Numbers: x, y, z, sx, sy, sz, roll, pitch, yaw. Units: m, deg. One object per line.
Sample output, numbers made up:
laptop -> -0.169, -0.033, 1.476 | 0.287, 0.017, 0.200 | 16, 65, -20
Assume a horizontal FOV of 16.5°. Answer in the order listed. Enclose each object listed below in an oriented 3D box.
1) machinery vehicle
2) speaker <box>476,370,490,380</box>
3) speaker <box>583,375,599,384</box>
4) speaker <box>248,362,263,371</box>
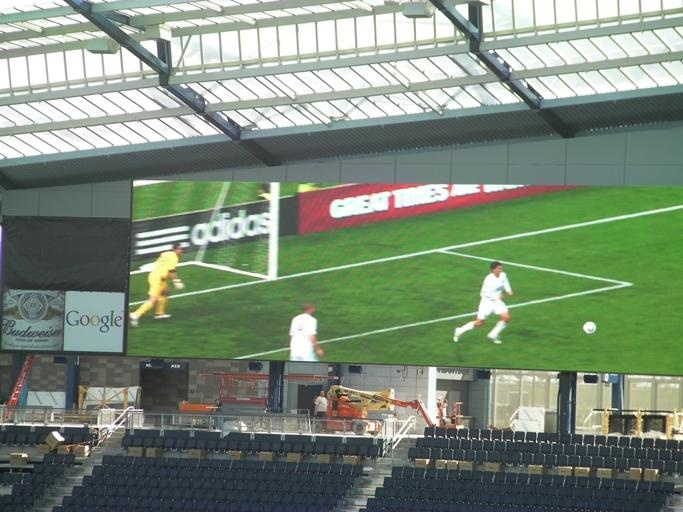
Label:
machinery vehicle -> 3.125, 6.727, 109.281 | 7.945, 2.313, 1.680 | 0, -9, 12
speaker -> 7.090, 5.875, 118.369 | 0.870, 0.454, 0.421 | 2, -4, -12
speaker -> 11.223, 5.506, 107.017 | 0.602, 0.321, 0.533 | 1, 2, 3
speaker -> -4.001, 5.086, 109.850 | 0.525, 0.261, 0.489 | 0, 0, 2
